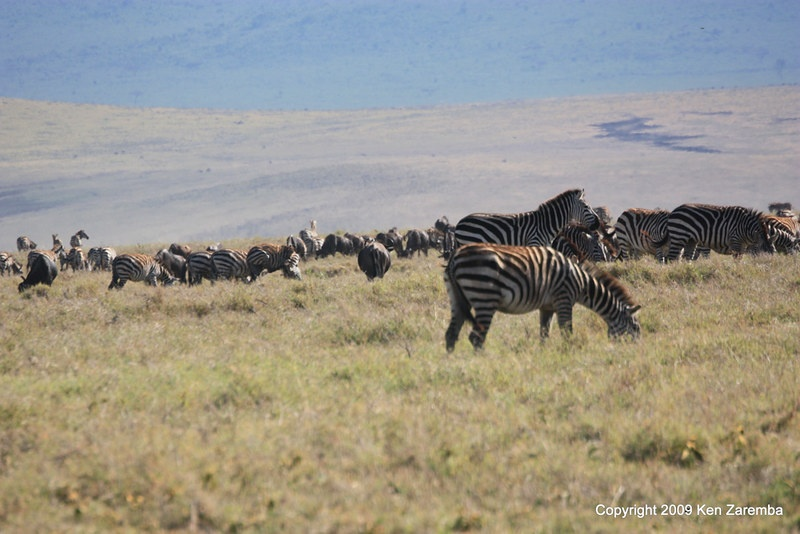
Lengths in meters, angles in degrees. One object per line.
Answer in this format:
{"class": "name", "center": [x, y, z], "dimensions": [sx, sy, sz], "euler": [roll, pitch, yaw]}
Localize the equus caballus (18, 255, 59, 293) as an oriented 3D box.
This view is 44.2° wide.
{"class": "equus caballus", "center": [-10.122, 0.118, 27.676], "dimensions": [0.648, 1.206, 2.207], "euler": [5, 6, -13]}
